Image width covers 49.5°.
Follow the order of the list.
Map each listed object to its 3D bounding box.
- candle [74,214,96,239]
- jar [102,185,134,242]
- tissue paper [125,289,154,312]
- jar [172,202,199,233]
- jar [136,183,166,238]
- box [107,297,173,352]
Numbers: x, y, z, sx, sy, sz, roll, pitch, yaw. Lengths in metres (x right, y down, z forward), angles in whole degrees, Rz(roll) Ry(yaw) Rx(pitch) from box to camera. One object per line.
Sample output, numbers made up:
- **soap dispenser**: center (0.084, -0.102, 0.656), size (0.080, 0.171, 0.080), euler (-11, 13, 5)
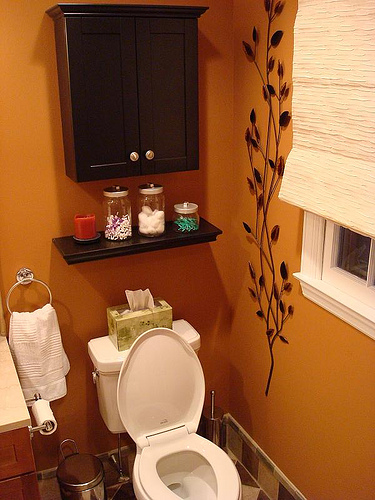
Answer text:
- **candle**: center (-0.388, -0.085, 1.537), size (0.070, 0.090, 0.085), euler (0, 5, 0)
- **jar**: center (-0.280, -0.142, 1.617), size (0.102, 0.197, 0.112), euler (-2, 15, 1)
- **tissue paper**: center (-0.209, 0.217, 1.724), size (0.074, 0.095, 0.009), euler (-7, 11, -29)
- **jar**: center (-0.010, -0.127, 1.723), size (0.107, 0.113, 0.108), euler (0, 20, 0)
- **jar**: center (-0.155, -0.176, 1.689), size (0.129, 0.204, 0.218), euler (-4, 16, -4)
- **box**: center (-0.194, 0.306, 1.731), size (0.234, 0.147, 0.136), euler (-11, 21, -20)
